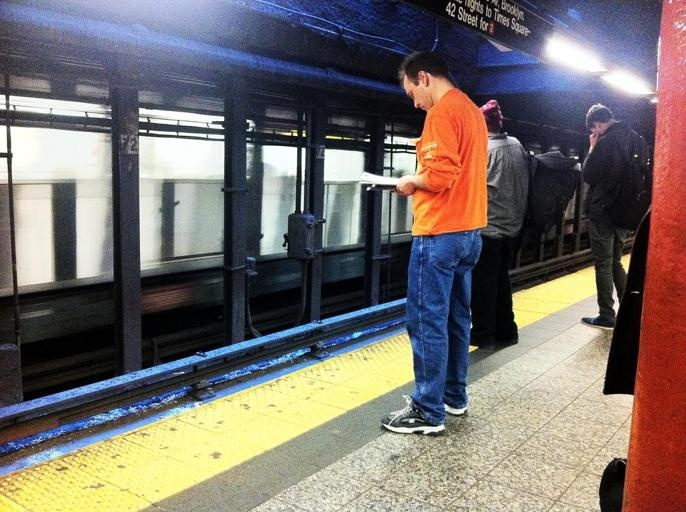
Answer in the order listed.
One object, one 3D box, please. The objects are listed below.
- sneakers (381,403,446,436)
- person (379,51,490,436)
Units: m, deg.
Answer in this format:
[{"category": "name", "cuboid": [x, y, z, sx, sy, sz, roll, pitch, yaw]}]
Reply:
[{"category": "sneakers", "cuboid": [0.439, 1.061, 3.294, 0.473, 0.219, 0.170, 3, -9, 4]}, {"category": "person", "cuboid": [0.601, -0.080, 3.293, 0.445, 2.453, 0.657, 5, 9, 38]}]
